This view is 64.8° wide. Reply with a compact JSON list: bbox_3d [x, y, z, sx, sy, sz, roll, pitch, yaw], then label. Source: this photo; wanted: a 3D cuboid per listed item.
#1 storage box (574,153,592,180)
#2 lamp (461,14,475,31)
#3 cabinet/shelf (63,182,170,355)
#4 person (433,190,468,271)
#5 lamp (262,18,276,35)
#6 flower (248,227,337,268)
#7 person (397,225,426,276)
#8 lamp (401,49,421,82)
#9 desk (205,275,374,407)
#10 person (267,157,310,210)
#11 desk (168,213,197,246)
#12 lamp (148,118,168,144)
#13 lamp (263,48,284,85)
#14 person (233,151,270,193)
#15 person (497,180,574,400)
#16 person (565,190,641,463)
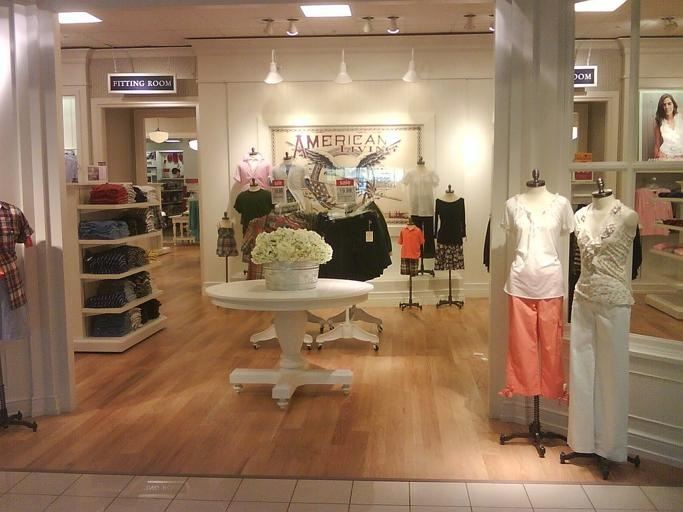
[{"bbox_3d":[1.715,-0.635,3.808,0.143,0.203,0.103,6,11,38],"label":"storage box"},{"bbox_3d":[1.678,-3.077,7.077,0.183,0.193,0.183,0,11,4],"label":"lamp"},{"bbox_3d":[-2.582,0.103,6.094,0.599,1.843,1.241,1,9,9],"label":"cabinet/shelf"},{"bbox_3d":[1.560,-0.324,7.705,0.419,1.002,0.307,1,9,10],"label":"person"},{"bbox_3d":[-0.967,-3.110,7.255,0.186,0.203,0.136,5,29,11],"label":"lamp"},{"bbox_3d":[-0.447,-0.117,4.706,0.719,0.346,0.824,3,3,-44],"label":"flower"},{"bbox_3d":[1.004,-0.085,7.655,0.334,0.761,0.477,1,9,9],"label":"person"},{"bbox_3d":[1.006,-2.788,7.841,0.227,0.514,0.496,0,9,6],"label":"lamp"},{"bbox_3d":[-0.446,0.642,4.605,1.142,0.711,1.136,-2,8,-9],"label":"desk"},{"bbox_3d":[-0.763,-1.115,8.032,0.519,0.748,0.265,-1,9,-4],"label":"person"},{"bbox_3d":[-4.531,-0.731,15.475,1.010,0.831,0.869,-1,4,-3],"label":"desk"},{"bbox_3d":[-4.827,-3.389,14.358,0.438,0.724,2.284,-3,9,-17],"label":"lamp"},{"bbox_3d":[-0.995,-2.793,7.886,0.285,0.572,0.712,-2,9,-6],"label":"lamp"},{"bbox_3d":[-1.371,-1.214,8.369,0.586,1.022,0.289,-9,54,-17],"label":"person"},{"bbox_3d":[1.344,0.197,3.705,0.451,1.559,0.382,2,9,16],"label":"person"},{"bbox_3d":[1.688,0.438,3.503,0.362,1.707,0.363,3,9,22],"label":"person"}]
